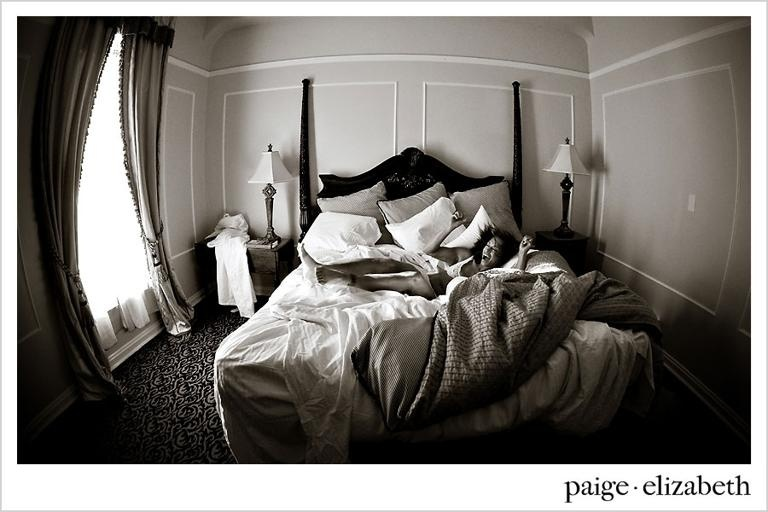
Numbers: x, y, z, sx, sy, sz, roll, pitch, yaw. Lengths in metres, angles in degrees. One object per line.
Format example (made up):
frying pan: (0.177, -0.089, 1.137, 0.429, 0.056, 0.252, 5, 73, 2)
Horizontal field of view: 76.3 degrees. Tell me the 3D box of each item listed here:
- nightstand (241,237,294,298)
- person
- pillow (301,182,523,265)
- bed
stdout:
nightstand: (-1.108, 0.041, 4.655, 0.467, 0.680, 0.631, 1, 7, 9)
person: (0.236, 0.047, 3.578, 1.574, 0.576, 0.541, 4, 21, -4)
pillow: (-0.008, -0.172, 4.037, 1.033, 0.292, 0.912, -2, 43, -10)
bed: (0.290, 0.300, 2.806, 1.544, 0.612, 1.576, -3, 22, -6)
